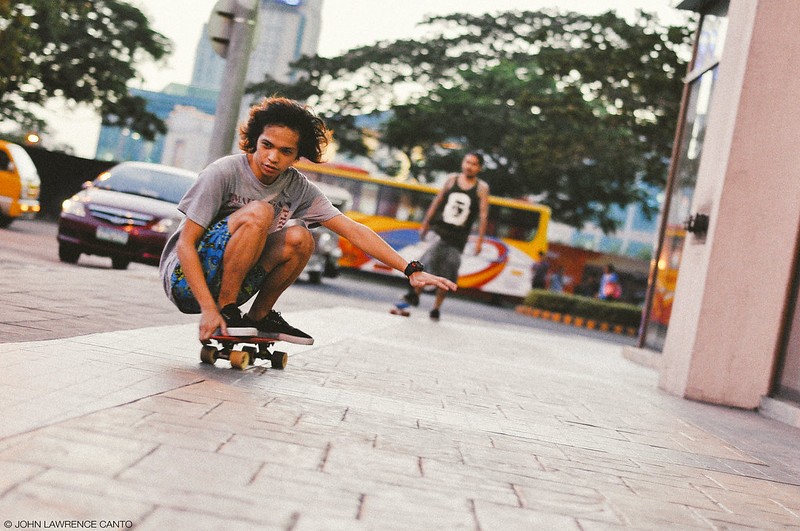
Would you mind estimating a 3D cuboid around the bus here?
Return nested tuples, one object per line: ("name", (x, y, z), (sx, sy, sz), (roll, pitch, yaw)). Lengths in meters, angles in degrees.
("bus", (-0.149, -0.907, 23.185), (9.299, 3.189, 2.688), (11, -9, 1))

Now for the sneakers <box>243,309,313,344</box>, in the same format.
("sneakers", (-0.856, 0.459, 5.394), (0.618, 0.222, 0.197), (14, -8, -8))

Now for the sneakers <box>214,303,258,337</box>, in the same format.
("sneakers", (-1.086, 0.396, 5.311), (0.213, 0.217, 0.566), (-9, 1, -26))

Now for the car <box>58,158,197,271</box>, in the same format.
("car", (-4.269, -0.919, 12.547), (1.781, 1.429, 3.366), (13, 5, -4))
